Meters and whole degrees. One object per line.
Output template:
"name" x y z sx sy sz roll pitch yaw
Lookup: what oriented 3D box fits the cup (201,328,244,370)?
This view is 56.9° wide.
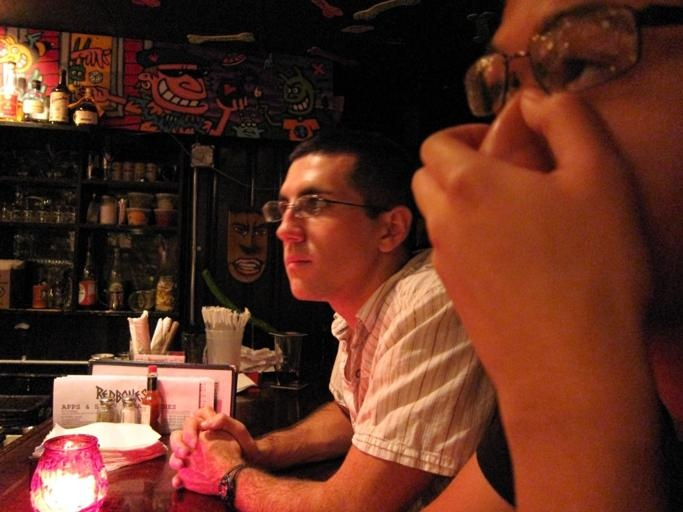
"cup" -0.390 0.303 2.123 0.156 0.156 0.151 1 -6 0

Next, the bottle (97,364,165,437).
"bottle" -0.509 0.355 1.530 0.179 0.162 0.093 -1 -4 -2

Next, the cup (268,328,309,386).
"cup" -0.154 0.388 2.352 0.172 0.219 0.167 0 -5 0
